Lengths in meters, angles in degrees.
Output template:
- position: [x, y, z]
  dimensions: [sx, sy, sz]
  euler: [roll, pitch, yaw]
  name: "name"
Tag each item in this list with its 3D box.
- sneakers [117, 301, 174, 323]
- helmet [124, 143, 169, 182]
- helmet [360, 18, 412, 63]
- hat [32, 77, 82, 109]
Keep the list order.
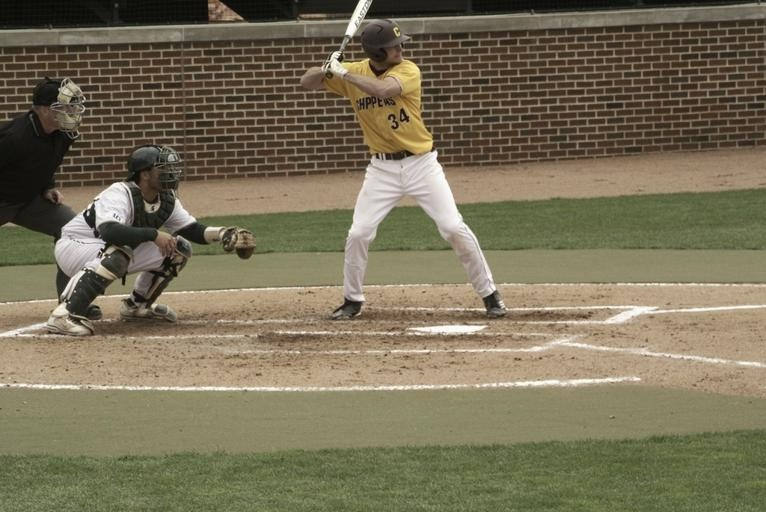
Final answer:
- position: [-2.544, 0.567, 17.046]
  dimensions: [0.629, 0.249, 0.227]
  euler: [-1, 8, -8]
  name: "sneakers"
- position: [-2.452, -0.986, 16.504]
  dimensions: [0.424, 0.358, 0.286]
  euler: [1, 7, -5]
  name: "helmet"
- position: [0.008, -2.317, 16.745]
  dimensions: [0.511, 0.377, 0.376]
  euler: [-1, 33, 12]
  name: "helmet"
- position: [-3.417, -1.698, 16.614]
  dimensions: [0.449, 0.219, 0.290]
  euler: [-5, 31, 1]
  name: "hat"
